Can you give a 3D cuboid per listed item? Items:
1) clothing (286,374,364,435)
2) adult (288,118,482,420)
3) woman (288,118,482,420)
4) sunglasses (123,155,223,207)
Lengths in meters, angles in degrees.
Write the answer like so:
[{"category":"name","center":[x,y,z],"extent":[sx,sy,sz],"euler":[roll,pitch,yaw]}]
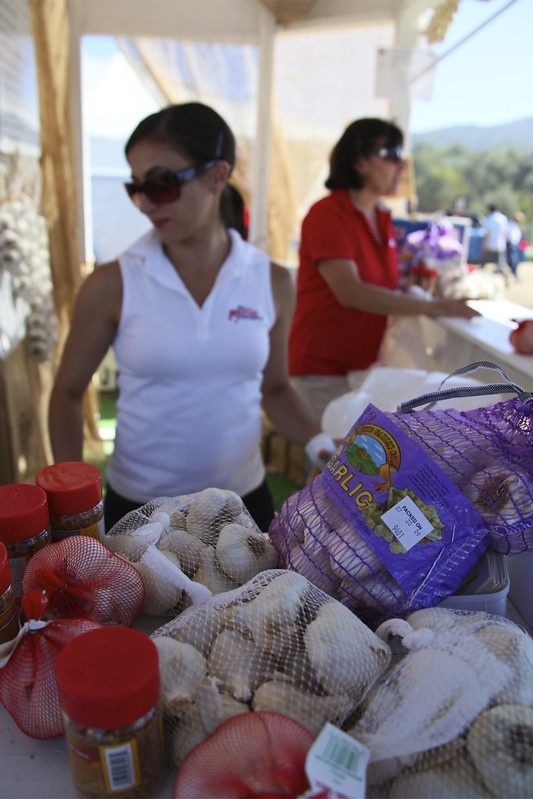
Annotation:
[{"category":"clothing","center":[0.168,0.000,1.593],"extent":[0.150,0.157,0.062],"euler":[-5,29,-1]},{"category":"adult","center":[0.282,-0.309,1.486],"extent":[0.408,0.877,0.288],"euler":[14,52,16]},{"category":"woman","center":[0.282,-0.309,1.486],"extent":[0.408,0.877,0.288],"euler":[14,52,16]},{"category":"sunglasses","center":[-0.157,-0.344,0.922],"extent":[0.075,0.025,0.073],"euler":[-36,22,-35]}]
